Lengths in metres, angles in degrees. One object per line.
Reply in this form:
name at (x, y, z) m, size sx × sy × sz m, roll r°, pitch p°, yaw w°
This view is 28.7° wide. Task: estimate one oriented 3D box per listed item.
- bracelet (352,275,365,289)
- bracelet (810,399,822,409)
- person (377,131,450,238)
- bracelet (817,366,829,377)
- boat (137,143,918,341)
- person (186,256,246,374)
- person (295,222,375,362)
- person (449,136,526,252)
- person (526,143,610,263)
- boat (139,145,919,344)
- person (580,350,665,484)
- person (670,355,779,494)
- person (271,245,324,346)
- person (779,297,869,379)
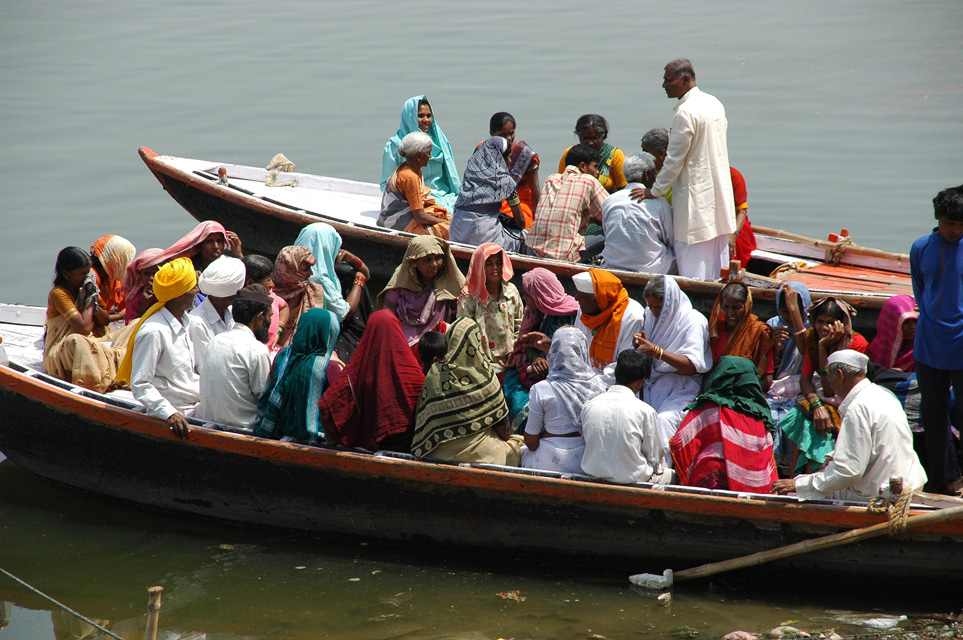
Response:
bracelet at (-1.540, -0.470, 23.653) m, size 0.159 × 0.135 × 0.150 m, roll 2°, pitch -20°, yaw -3°
bracelet at (3.863, 0.993, 21.926) m, size 0.096 × 0.067 × 0.095 m, roll -4°, pitch 7°, yaw -44°
person at (-0.886, -1.726, 24.410) m, size 0.932 × 1.361 × 0.627 m, roll -1°, pitch 13°, yaw -2°
bracelet at (3.959, 0.612, 22.049) m, size 0.105 × 0.075 × 0.073 m, roll 10°, pitch 24°, yaw 34°
boat at (0.524, -0.917, 24.135) m, size 7.702 × 1.188 × 1.556 m, roll 11°, pitch 22°, yaw 7°
person at (-3.079, -0.004, 22.053) m, size 0.605 × 1.677 × 0.728 m, roll 7°, pitch 26°, yaw 1°
person at (-1.816, -0.291, 23.109) m, size 0.943 × 1.539 × 0.791 m, roll -27°, pitch 62°, yaw -34°
person at (0.041, -1.575, 24.199) m, size 0.813 × 1.457 × 0.593 m, roll -11°, pitch 17°, yaw -36°
person at (1.144, -1.469, 24.111) m, size 0.994 × 1.436 × 0.706 m, roll -12°, pitch 17°, yaw -40°
boat at (0.508, -0.873, 24.022) m, size 7.390 × 1.174 × 1.562 m, roll 12°, pitch 22°, yaw 8°
person at (1.636, 1.131, 21.548) m, size 1.018 × 1.512 × 0.497 m, roll 0°, pitch 14°, yaw 2°
person at (2.781, 1.231, 21.701) m, size 1.195 × 1.475 × 0.714 m, roll 0°, pitch 13°, yaw 5°
person at (-2.228, -0.244, 22.801) m, size 0.528 × 1.463 × 0.633 m, roll 2°, pitch 31°, yaw 10°
person at (3.935, 0.244, 22.095) m, size 0.923 × 0.886 × 0.593 m, roll 6°, pitch -6°, yaw 35°
